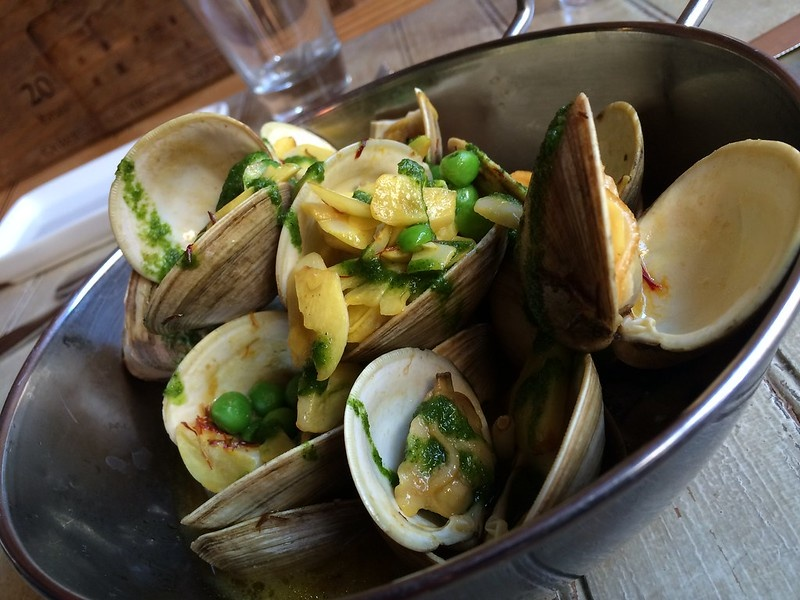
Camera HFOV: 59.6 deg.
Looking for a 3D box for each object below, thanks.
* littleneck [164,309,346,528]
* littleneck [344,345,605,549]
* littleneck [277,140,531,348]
[{"bbox_3d":[-0.314,0.228,1.311,0.356,0.140,0.384,-10,60,25],"label":"littleneck"},{"bbox_3d":[0.074,0.253,1.197,0.361,0.182,0.328,25,45,5],"label":"littleneck"},{"bbox_3d":[0.034,-0.142,1.357,0.489,0.359,0.347,12,28,27],"label":"littleneck"}]
